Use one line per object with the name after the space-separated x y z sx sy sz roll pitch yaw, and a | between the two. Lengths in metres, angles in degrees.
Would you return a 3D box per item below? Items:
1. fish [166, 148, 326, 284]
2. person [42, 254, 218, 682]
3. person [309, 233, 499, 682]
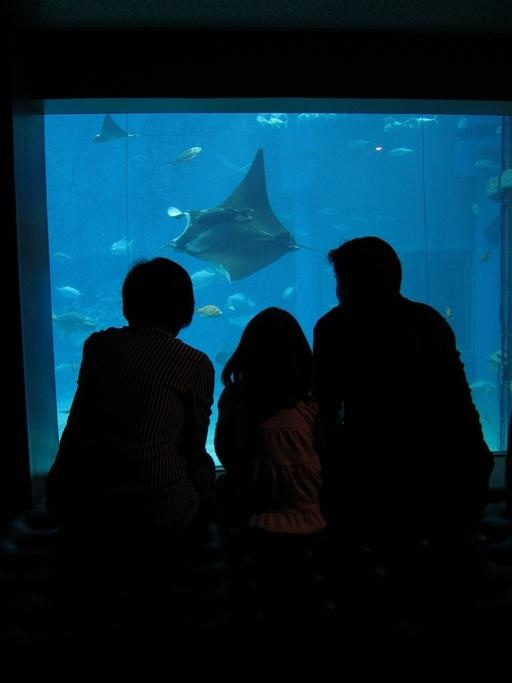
-0.293 -1.861 10.689 1.374 1.756 2.032 -2 3 -44 | fish
-0.486 0.428 2.622 0.643 1.536 0.516 0 2 -8 | person
0.576 0.221 2.807 0.751 1.344 0.456 1 2 21 | person
